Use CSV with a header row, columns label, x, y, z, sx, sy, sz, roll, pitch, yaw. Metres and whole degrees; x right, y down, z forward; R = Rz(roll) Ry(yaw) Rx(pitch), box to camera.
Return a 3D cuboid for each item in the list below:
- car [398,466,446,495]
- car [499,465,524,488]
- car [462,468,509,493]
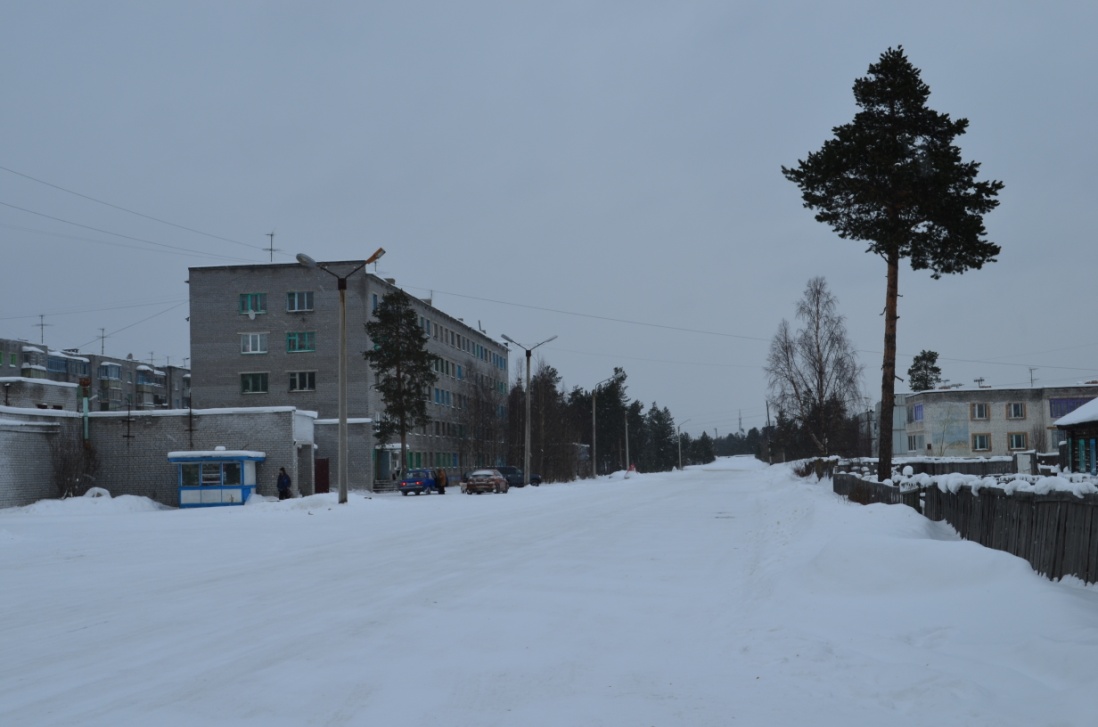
label,x,y,z,sx,sy,sz,roll,pitch,yaw
car,-6.718,6.210,59.748,1.386,1.188,3.292,-3,-11,9
car,-2.255,7.149,70.096,0.944,0.860,1.561,-1,-1,16
car,-3.184,6.095,57.273,1.861,1.076,1.954,-1,0,-15
